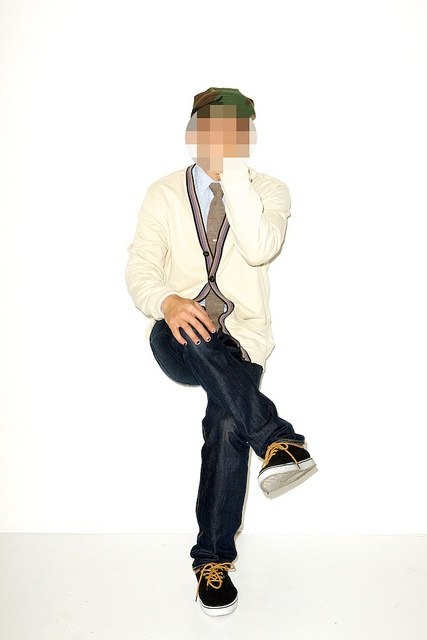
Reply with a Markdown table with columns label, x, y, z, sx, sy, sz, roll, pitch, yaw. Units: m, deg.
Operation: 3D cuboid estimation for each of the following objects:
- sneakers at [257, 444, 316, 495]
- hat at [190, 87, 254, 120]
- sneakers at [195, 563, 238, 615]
| label | x | y | z | sx | sy | sz | roll | pitch | yaw |
| --- | --- | --- | --- | --- | --- | --- | --- | --- | --- |
| sneakers | 0.153 | 0.302 | 1.389 | 0.157 | 0.072 | 0.063 | -6 | -21 | -39 |
| hat | 0.028 | -0.543 | 1.600 | 0.096 | 0.050 | 0.120 | 2 | 2 | 27 |
| sneakers | 0.006 | 0.655 | 1.603 | 0.097 | 0.083 | 0.237 | -3 | 0 | -4 |
